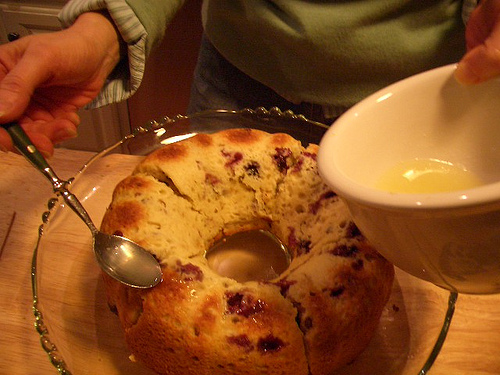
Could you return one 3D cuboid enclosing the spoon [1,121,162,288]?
[{"bbox_3d":[-0.402,0.050,1.013,0.086,0.054,0.465,-28,73,-41],"label":"spoon"}]
